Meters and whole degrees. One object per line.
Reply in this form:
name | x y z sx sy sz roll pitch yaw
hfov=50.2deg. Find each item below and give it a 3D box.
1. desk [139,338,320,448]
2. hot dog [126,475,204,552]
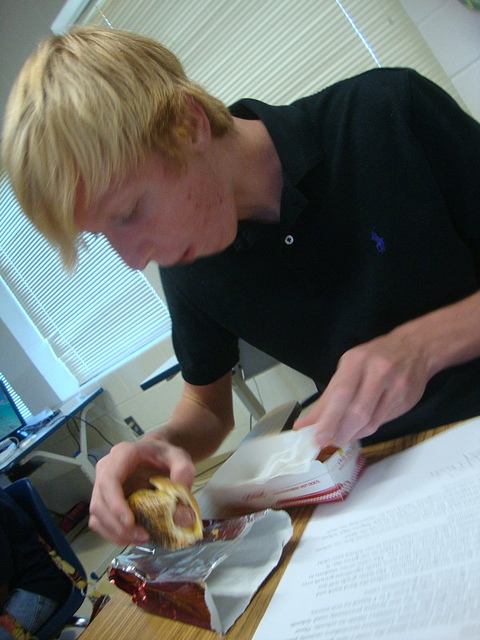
desk | -0.083 0.284 1.752 0.348 0.295 0.339 -30 -6 -2
hot dog | -0.075 0.206 0.539 0.104 0.036 0.053 8 84 54
